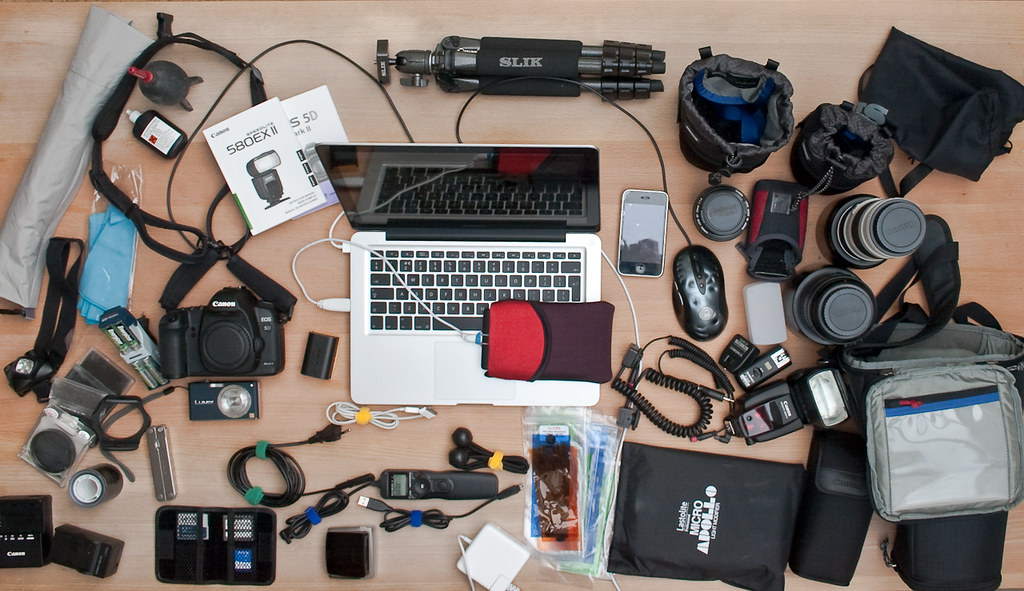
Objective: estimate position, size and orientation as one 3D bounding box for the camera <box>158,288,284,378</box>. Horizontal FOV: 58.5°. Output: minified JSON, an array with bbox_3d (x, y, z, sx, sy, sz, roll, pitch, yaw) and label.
[{"bbox_3d":[-1.140,0.156,3.584,0.389,0.267,0.133,0,-2,0],"label":"camera"}]

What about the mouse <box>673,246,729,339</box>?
[{"bbox_3d":[0.741,-0.007,3.605,0.216,0.370,0.127,-4,-8,13],"label":"mouse"}]

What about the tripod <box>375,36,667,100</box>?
[{"bbox_3d":[0.069,-0.893,3.606,1.050,0.255,0.101,-2,-8,-1],"label":"tripod"}]
